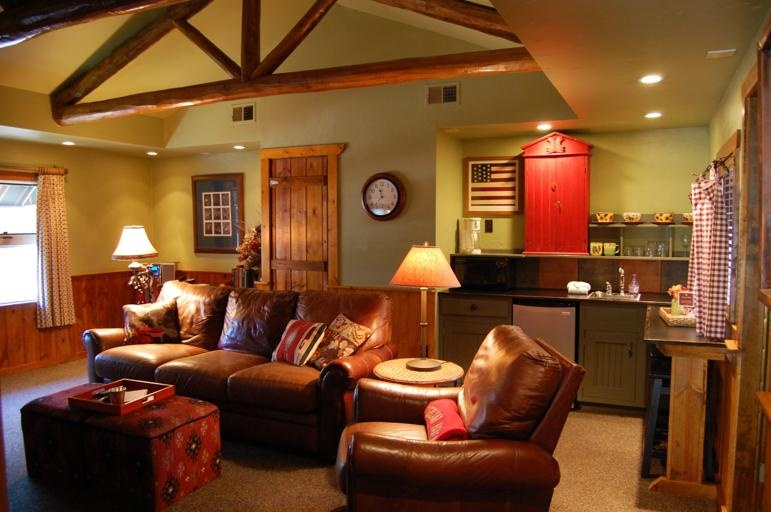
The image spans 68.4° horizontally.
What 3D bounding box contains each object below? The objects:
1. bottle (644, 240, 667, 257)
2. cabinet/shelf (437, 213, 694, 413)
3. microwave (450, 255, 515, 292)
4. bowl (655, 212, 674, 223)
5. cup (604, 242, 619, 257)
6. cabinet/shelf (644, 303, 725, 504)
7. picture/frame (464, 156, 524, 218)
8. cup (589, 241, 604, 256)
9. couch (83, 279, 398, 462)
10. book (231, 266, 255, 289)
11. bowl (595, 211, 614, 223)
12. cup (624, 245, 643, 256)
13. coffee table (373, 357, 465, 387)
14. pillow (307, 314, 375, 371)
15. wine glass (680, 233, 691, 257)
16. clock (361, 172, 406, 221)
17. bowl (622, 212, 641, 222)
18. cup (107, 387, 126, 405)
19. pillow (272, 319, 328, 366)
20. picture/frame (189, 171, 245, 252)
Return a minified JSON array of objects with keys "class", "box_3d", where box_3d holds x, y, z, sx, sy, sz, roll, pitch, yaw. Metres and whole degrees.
[{"class":"bottle","box_3d":[3.038,-0.071,6.350,0.149,0.214,0.250,-1,3,-37]},{"class":"cabinet/shelf","box_3d":[1.877,0.570,5.592,2.167,1.696,0.758,0,-4,27]},{"class":"microwave","box_3d":[1.195,0.205,6.761,0.684,0.401,0.440,1,-1,33]},{"class":"bowl","box_3d":[3.082,-0.420,6.229,0.125,0.077,0.127,2,2,0]},{"class":"cup","box_3d":[2.569,-0.081,6.409,0.180,0.128,0.120,0,-2,2]},{"class":"cabinet/shelf","box_3d":[2.476,1.226,4.614,0.667,1.360,1.592,1,1,23]},{"class":"picture/frame","box_3d":[1.375,-0.860,6.944,0.786,0.767,0.052,1,6,19]},{"class":"cup","box_3d":[2.412,-0.080,6.425,0.146,0.152,0.146,3,-3,0]},{"class":"couch","box_3d":[-1.559,0.992,5.788,3.290,1.328,1.204,2,3,25]},{"class":"book","box_3d":[-1.982,0.300,7.727,0.267,0.335,0.359,1,0,20]},{"class":"bowl","box_3d":[2.514,-0.435,6.438,0.139,0.082,0.138,3,1,0]},{"class":"cup","box_3d":[2.825,-0.055,6.404,0.183,0.133,0.103,1,0,21]},{"class":"coffee table","box_3d":[0.284,0.994,4.759,0.412,0.093,0.403,0,4,-6]},{"class":"pillow","box_3d":[-0.427,0.832,5.303,0.472,0.462,0.141,25,-17,38]},{"class":"wine glass","box_3d":[3.345,-0.122,6.275,0.107,0.263,0.090,11,16,41]},{"class":"clock","box_3d":[0.002,-0.695,6.632,0.597,0.587,0.099,0,1,32]},{"class":"bowl","box_3d":[2.794,-0.422,6.359,0.143,0.085,0.144,1,2,0]},{"class":"cup","box_3d":[-2.220,1.152,4.650,0.162,0.125,0.130,6,-8,-34]},{"class":"pillow","box_3d":[-0.808,0.842,5.385,0.424,0.408,0.157,15,-9,36]},{"class":"picture/frame","box_3d":[-2.435,-0.622,8.343,0.924,1.125,0.047,1,4,13]}]
